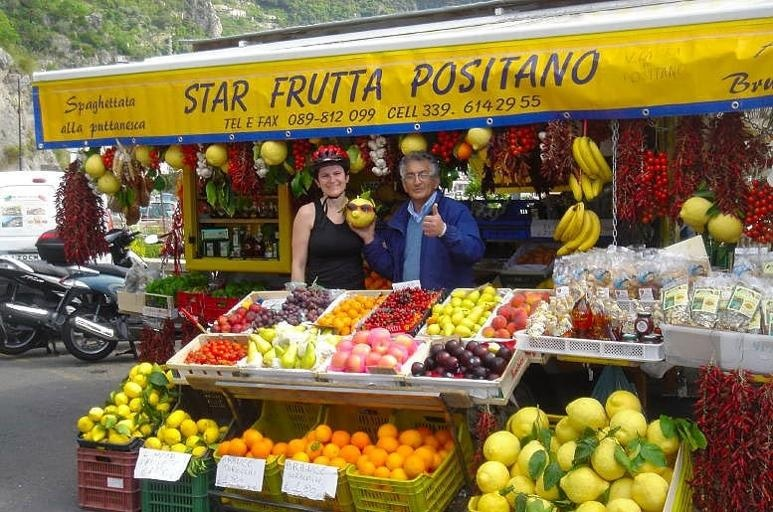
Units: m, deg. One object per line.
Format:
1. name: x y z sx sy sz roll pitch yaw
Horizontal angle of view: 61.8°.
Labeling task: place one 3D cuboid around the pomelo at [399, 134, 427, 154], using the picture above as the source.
1. pomelo: 0.215 -0.962 5.557 0.249 0.166 0.158 1 8 17

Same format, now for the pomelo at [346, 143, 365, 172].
1. pomelo: -0.256 -0.890 5.822 0.160 0.212 0.211 1 17 12

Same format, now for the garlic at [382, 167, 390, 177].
1. garlic: -0.023 -0.751 5.772 0.103 0.095 0.028 -2 6 -43

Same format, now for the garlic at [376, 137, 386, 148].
1. garlic: -0.047 -0.994 5.656 0.081 0.081 0.043 -23 -1 19

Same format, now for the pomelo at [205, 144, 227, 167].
1. pomelo: -1.565 -0.925 5.969 0.207 0.165 0.157 17 19 33

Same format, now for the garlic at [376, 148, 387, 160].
1. garlic: -0.041 -0.896 5.670 0.059 0.062 0.080 -22 53 -14

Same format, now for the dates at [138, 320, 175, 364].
1. dates: -2.099 0.796 5.916 0.310 0.343 0.458 -5 9 -23

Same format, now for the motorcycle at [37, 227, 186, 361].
1. motorcycle: -3.644 0.521 8.408 2.821 1.664 0.900 1 6 11

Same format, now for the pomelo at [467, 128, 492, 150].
1. pomelo: 0.738 -0.958 5.238 0.154 0.183 0.151 -5 10 -27

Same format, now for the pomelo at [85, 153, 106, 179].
1. pomelo: -2.826 -0.858 6.276 0.199 0.247 0.204 7 -4 -25

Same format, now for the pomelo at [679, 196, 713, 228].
1. pomelo: 2.340 -0.329 4.889 0.235 0.188 0.181 0 18 -4

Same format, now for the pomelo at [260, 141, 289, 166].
1. pomelo: -0.995 -0.918 5.888 0.207 0.233 0.195 16 6 17

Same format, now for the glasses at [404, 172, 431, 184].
1. glasses: 0.255 -0.661 5.404 0.225 0.082 0.078 0 8 7

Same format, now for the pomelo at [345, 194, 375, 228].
1. pomelo: -0.229 -0.379 5.577 0.242 0.303 0.241 -2 8 -5

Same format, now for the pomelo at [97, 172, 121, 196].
1. pomelo: -2.732 -0.713 6.395 0.243 0.236 0.239 -1 8 3

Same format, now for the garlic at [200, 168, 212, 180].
1. garlic: -1.748 -0.790 6.222 0.095 0.049 0.106 8 -13 -32

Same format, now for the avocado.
1. avocado: -0.671 0.676 4.708 0.339 0.597 0.286 -19 31 13

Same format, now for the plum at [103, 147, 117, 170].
1. plum: -2.667 -0.947 6.278 0.069 0.195 0.146 1 -28 -14

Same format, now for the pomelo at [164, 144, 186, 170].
1. pomelo: -2.028 -0.935 6.231 0.200 0.216 0.249 -16 -22 -24

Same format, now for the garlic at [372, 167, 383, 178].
1. garlic: -0.088 -0.745 5.746 0.072 0.055 0.095 12 1 -24

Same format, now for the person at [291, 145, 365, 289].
1. person: -0.452 0.022 5.851 0.771 2.009 0.543 -3 10 -13
